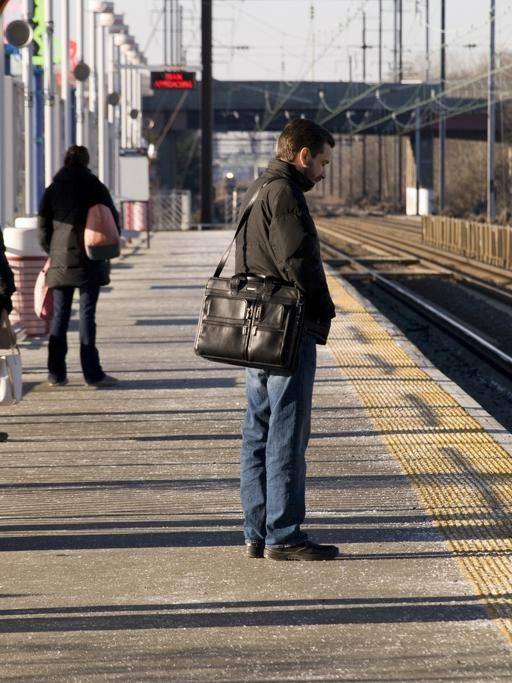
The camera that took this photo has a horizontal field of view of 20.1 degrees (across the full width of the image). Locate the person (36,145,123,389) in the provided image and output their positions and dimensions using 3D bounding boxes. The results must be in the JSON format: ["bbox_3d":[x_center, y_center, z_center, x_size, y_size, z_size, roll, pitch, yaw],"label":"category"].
[{"bbox_3d":[-1.109,-0.449,9.012,0.499,1.531,0.408,-1,8,-10],"label":"person"}]

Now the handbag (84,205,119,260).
[{"bbox_3d":[-0.962,-0.663,8.856,0.153,0.435,0.262,-7,-8,40],"label":"handbag"}]
